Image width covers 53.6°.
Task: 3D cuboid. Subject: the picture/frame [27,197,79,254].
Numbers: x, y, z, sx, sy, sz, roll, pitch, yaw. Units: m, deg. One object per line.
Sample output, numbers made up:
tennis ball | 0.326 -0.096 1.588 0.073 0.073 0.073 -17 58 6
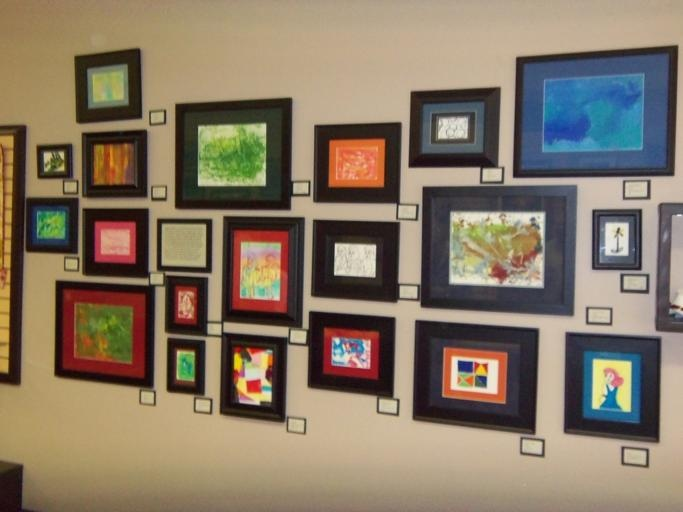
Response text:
picture/frame | -1.774 -0.191 4.188 0.296 0.344 0.025 1 3 18

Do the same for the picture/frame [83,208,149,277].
picture/frame | -1.345 -0.083 4.097 0.355 0.412 0.043 1 3 14

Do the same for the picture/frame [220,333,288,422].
picture/frame | -0.495 0.695 3.929 0.448 0.610 0.041 0 -2 13

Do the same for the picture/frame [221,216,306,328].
picture/frame | -0.431 0.080 3.903 0.544 0.764 0.055 1 0 17

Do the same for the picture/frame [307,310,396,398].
picture/frame | 0.078 0.542 3.809 0.422 0.424 0.037 2 2 14

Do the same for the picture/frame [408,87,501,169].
picture/frame | 0.633 -0.694 3.672 0.390 0.408 0.033 0 -2 15

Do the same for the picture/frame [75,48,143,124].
picture/frame | -1.387 -1.023 4.081 0.401 0.466 0.042 0 4 12

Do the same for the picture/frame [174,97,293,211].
picture/frame | -0.595 -0.594 3.916 0.571 0.580 0.032 1 -1 7

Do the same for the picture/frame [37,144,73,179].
picture/frame | -1.758 -0.581 4.176 0.184 0.186 0.020 1 0 16

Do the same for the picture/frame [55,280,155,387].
picture/frame | -1.414 0.460 4.123 0.556 0.571 0.040 2 2 15

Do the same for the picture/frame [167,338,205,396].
picture/frame | -0.916 0.649 4.016 0.295 0.451 0.046 1 0 15

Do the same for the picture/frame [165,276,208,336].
picture/frame | -0.907 0.297 4.007 0.306 0.446 0.045 0 -1 12

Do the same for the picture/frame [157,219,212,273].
picture/frame | -0.915 -0.066 4.007 0.273 0.302 0.025 1 0 11

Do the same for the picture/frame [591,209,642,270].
picture/frame | 1.443 -0.083 3.535 0.274 0.387 0.039 0 0 15

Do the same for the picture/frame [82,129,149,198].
picture/frame | -1.347 -0.559 4.075 0.355 0.411 0.028 0 3 12

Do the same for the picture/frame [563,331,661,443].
picture/frame | 1.420 0.683 3.568 0.444 0.568 0.022 1 16 22

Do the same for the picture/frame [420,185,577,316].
picture/frame | 0.879 -0.035 3.637 0.606 0.591 0.050 1 2 17

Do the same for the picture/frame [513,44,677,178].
picture/frame | 1.362 -0.756 3.540 0.602 0.568 0.031 2 -2 6

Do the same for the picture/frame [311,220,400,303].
picture/frame | 0.098 0.024 3.792 0.398 0.440 0.037 1 1 13

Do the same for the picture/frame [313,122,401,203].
picture/frame | 0.108 -0.526 3.778 0.395 0.406 0.030 0 3 11
